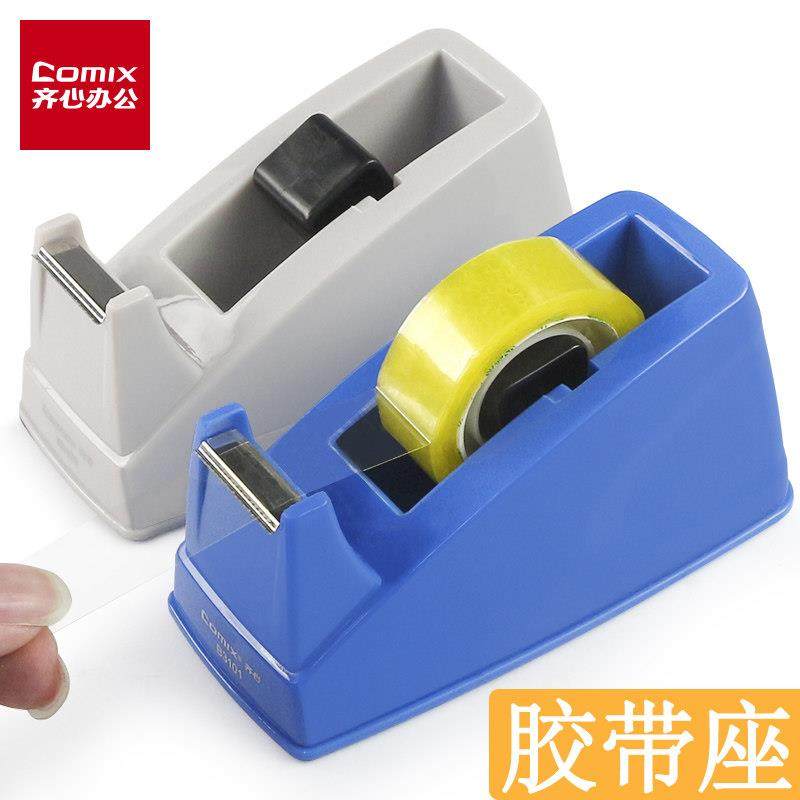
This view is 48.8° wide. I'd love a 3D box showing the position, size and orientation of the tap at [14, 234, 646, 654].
[{"bbox_3d":[-0.055,-0.074,1.030,0.659,0.364,0.243,-38,52,-17],"label":"tap"}]
